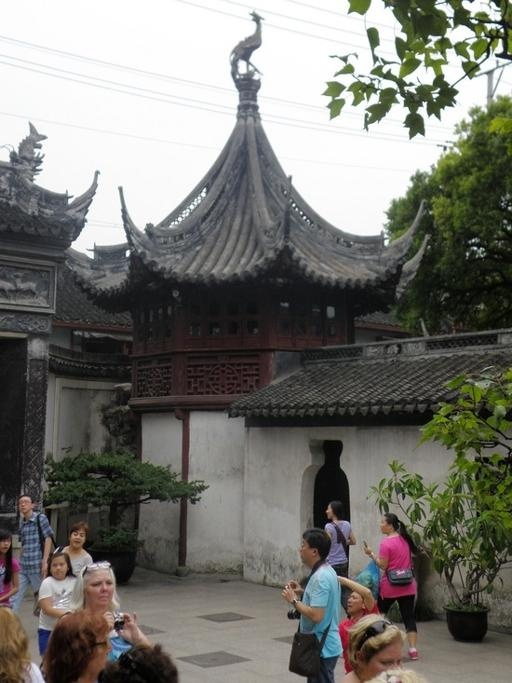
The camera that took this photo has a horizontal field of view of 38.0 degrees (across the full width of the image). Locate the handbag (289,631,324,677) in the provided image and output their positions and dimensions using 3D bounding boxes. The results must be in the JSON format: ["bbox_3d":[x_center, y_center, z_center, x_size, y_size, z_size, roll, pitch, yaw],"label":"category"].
[{"bbox_3d":[0.292,1.829,4.307,0.190,0.266,0.156,0,-9,-4],"label":"handbag"}]

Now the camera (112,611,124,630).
[{"bbox_3d":[-0.635,1.286,3.411,0.023,0.060,0.055,-10,-24,37],"label":"camera"}]

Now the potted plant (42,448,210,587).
[{"bbox_3d":[-2.388,3.049,12.543,2.771,2.376,2.555,1,-10,-29],"label":"potted plant"}]

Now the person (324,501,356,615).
[{"bbox_3d":[0.872,2.325,8.057,0.360,1.228,0.347,-1,9,-14],"label":"person"}]

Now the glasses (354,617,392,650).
[{"bbox_3d":[0.430,1.070,2.767,0.033,0.113,0.109,37,18,25],"label":"glasses"}]

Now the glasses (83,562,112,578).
[{"bbox_3d":[-0.828,1.158,3.800,0.078,0.029,0.094,13,-56,-43],"label":"glasses"}]
